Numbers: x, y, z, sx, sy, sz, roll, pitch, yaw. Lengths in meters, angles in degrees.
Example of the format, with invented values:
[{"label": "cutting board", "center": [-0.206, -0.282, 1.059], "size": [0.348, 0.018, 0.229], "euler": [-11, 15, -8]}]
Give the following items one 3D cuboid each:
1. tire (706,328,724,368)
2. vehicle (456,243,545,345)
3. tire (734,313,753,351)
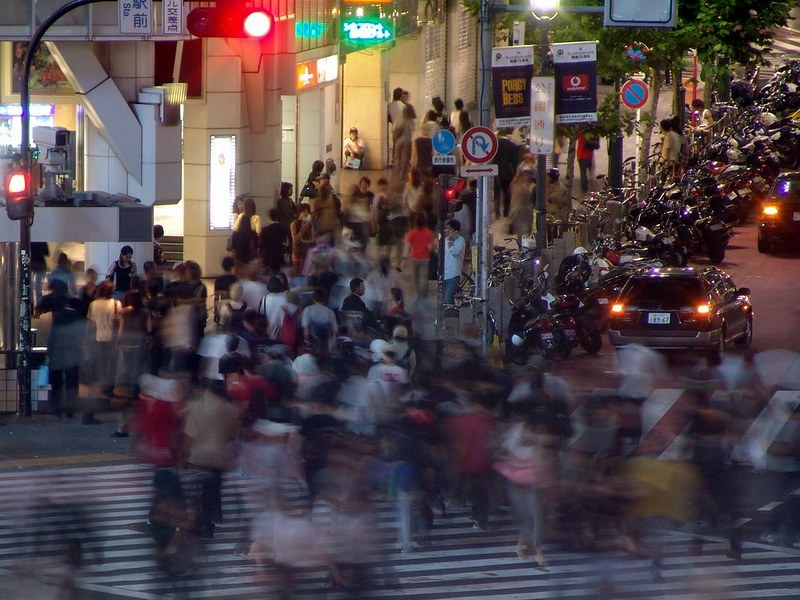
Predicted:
[{"label": "tire", "center": [5.464, 0.799, 20.369], "size": [0.202, 0.630, 0.625], "euler": [4, -2, 9]}, {"label": "vehicle", "center": [1.516, -0.205, 21.915], "size": [2.336, 1.410, 1.130], "euler": [-1, 0, 7]}, {"label": "tire", "center": [6.299, 0.577, 21.623], "size": [0.219, 0.680, 0.677], "euler": [1, 2, 20]}]
